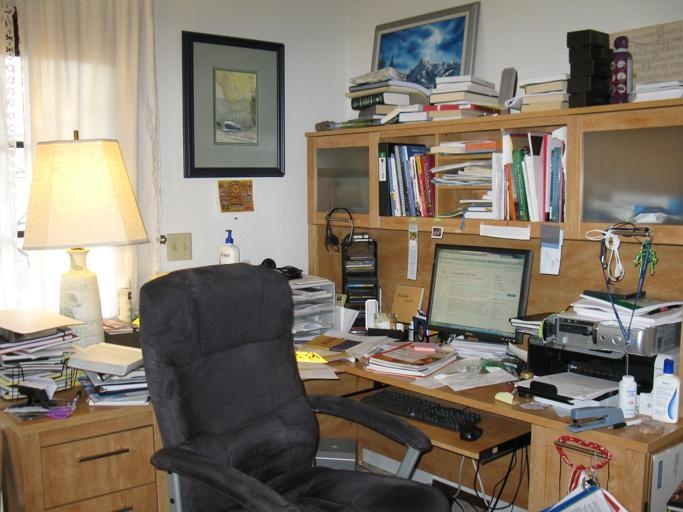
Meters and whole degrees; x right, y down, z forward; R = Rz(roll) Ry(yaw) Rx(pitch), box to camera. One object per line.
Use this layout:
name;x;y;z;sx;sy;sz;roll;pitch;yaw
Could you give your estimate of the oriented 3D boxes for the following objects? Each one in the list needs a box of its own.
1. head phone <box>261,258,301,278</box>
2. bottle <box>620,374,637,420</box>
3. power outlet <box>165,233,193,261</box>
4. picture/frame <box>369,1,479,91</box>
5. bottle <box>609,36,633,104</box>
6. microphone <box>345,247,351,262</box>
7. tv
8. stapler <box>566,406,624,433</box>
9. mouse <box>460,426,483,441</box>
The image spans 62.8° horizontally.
head phone;-0.328;0.068;3.079;0.141;0.049;0.144;14;6;41
bottle;1.016;0.501;1.996;0.066;0.139;0.049;-7;8;-27
power outlet;-0.898;-0.055;3.068;0.163;0.154;0.018;-2;1;-39
picture/frame;0.477;-1.159;3.085;0.764;0.517;0.029;4;0;42
bottle;1.158;-0.770;2.317;0.084;0.288;0.221;0;8;26
microphone;0.030;-0.011;3.175;0.016;0.065;0.048;-4;-8;38
tv;0.679;0.185;2.695;0.481;0.397;0.125;7;14;41
stapler;0.872;0.558;1.935;0.206;0.073;0.078;-4;7;-6
mouse;0.482;0.659;2.106;0.056;0.055;0.038;5;0;42
